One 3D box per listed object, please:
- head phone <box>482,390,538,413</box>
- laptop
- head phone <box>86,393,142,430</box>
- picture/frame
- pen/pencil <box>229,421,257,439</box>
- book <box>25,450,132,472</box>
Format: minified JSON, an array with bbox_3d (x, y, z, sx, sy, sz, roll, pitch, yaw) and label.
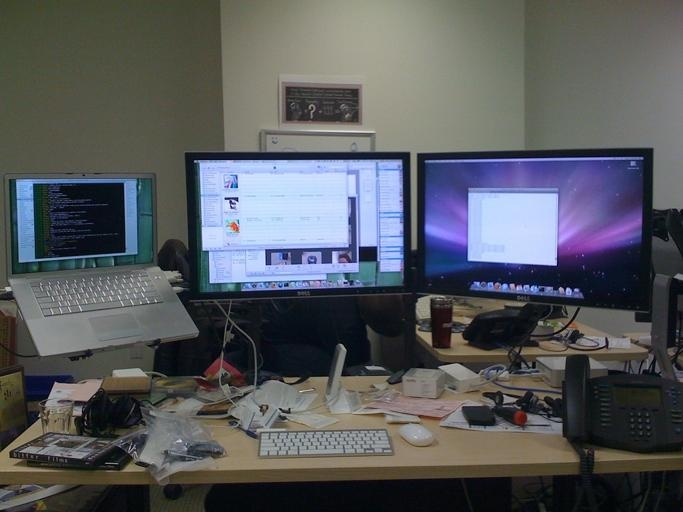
[{"bbox_3d":[0.538,0.454,1.923,0.109,0.042,0.072,6,5,5],"label":"head phone"},{"bbox_3d":[-0.830,0.080,2.069,0.585,0.445,0.610,-9,45,-34],"label":"laptop"},{"bbox_3d":[-0.663,0.456,1.788,0.145,0.065,0.105,2,8,-22],"label":"head phone"},{"bbox_3d":[-0.130,-0.869,3.457,0.389,0.227,0.016,0,6,-4],"label":"picture/frame"},{"bbox_3d":[-0.288,0.513,1.804,0.057,0.014,0.017,25,22,21],"label":"pen/pencil"},{"bbox_3d":[-0.718,0.556,1.659,0.282,0.027,0.210,3,-3,-11],"label":"book"}]
